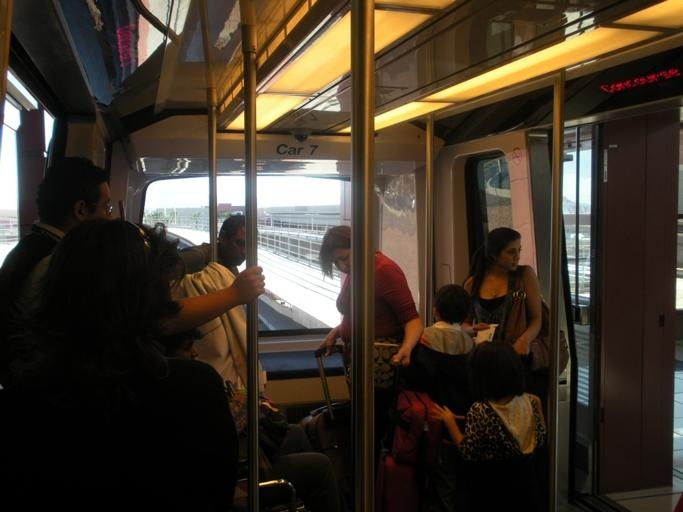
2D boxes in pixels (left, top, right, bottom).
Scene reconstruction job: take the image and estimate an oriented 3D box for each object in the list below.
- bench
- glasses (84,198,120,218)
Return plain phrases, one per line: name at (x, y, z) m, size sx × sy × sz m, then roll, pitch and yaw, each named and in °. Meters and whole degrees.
bench at (-0.308, 1.039, 4.588) m, size 0.787 × 0.204 × 0.768 m, roll -3°, pitch 16°, yaw -11°
glasses at (-1.027, -0.212, 2.303) m, size 0.102 × 0.096 × 0.222 m, roll 3°, pitch 4°, yaw -2°
